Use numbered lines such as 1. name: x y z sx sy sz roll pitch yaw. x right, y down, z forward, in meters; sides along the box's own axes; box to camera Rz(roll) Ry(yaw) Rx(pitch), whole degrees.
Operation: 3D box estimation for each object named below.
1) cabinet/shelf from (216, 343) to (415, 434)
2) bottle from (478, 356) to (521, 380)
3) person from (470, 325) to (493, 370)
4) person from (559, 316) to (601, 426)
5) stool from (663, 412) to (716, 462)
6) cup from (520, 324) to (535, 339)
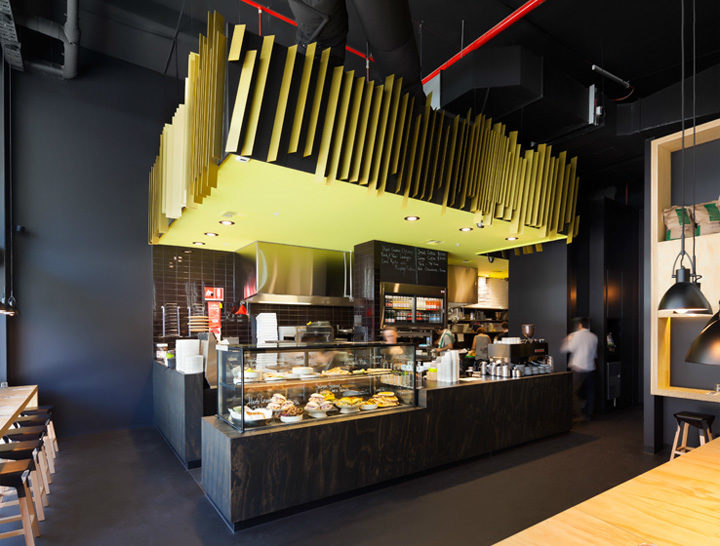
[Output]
1. cabinet/shelf: -0.447 1.163 6.071 2.148 0.921 0.445 -3 6 -25
2. bottle: 1.964 1.334 7.574 0.365 0.149 0.285 1 -2 -30
3. person: 1.863 1.154 8.363 0.247 0.781 0.210 -2 31 9
4. person: 3.503 1.564 8.779 0.656 1.674 0.406 -3 6 -25
5. stool: 4.080 1.991 6.740 0.458 0.699 0.904 4 7 34
6. cup: 2.529 0.892 8.264 0.145 0.231 0.332 2 6 24
